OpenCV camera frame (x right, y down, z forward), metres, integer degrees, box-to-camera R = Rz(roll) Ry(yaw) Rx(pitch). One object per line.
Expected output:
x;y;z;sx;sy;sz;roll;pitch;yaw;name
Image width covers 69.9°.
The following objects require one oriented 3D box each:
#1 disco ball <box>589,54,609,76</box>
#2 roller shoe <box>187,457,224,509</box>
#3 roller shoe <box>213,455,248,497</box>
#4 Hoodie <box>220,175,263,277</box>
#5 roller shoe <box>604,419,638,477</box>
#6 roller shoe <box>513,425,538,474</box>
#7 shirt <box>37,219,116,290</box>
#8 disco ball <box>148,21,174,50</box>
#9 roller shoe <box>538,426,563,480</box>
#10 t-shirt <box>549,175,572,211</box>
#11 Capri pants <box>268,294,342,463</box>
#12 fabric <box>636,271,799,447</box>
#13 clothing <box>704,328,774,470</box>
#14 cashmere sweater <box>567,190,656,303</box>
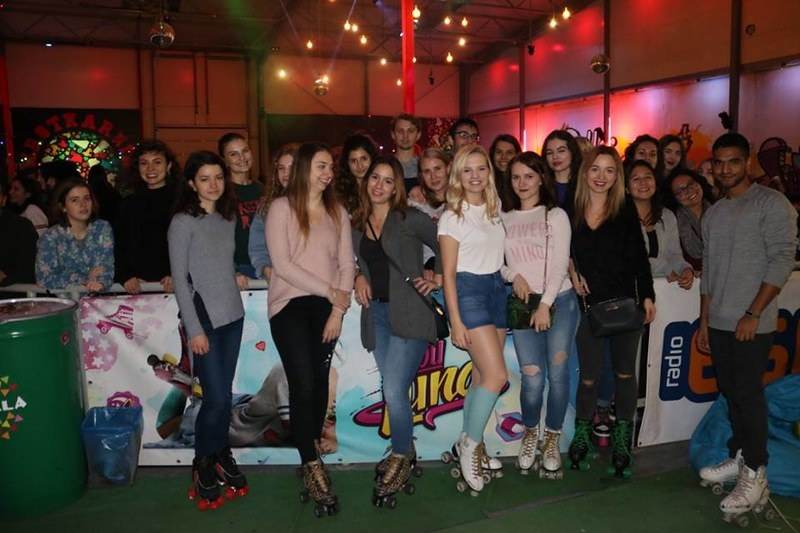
5.049;-5.119;14.436;0.360;0.483;0.606;1;6;24;disco ball
-2.056;2.186;6.036;0.247;0.354;0.728;8;8;-32;roller shoe
-1.815;2.156;6.102;0.196;0.268;0.581;-3;26;-45;roller shoe
-1.893;-0.468;6.915;0.700;0.975;0.249;0;5;4;Hoodie
2.427;1.999;6.289;0.224;0.694;0.298;-2;-34;28;roller shoe
1.396;1.996;6.336;0.177;0.544;0.226;4;-12;24;roller shoe
-3.689;-0.120;6.478;0.839;0.807;0.480;-5;30;-40;shirt
-4.964;-4.862;11.915;0.374;0.567;0.650;-3;6;-17;disco ball
1.625;2.021;6.287;0.187;0.262;0.619;-1;31;5;roller shoe
1.946;-0.844;6.723;0.170;0.477;0.332;-5;5;-34;t-shirt
-0.960;1.116;5.816;0.434;1.648;0.499;4;8;40;Capri pants
3.462;1.059;6.403;1.961;1.285;0.077;-5;9;-24;fabric
3.585;1.327;6.015;0.540;1.495;0.392;-15;-36;43;clothing
2.280;-0.195;6.296;0.867;1.239;0.669;-18;4;27;cashmere sweater
